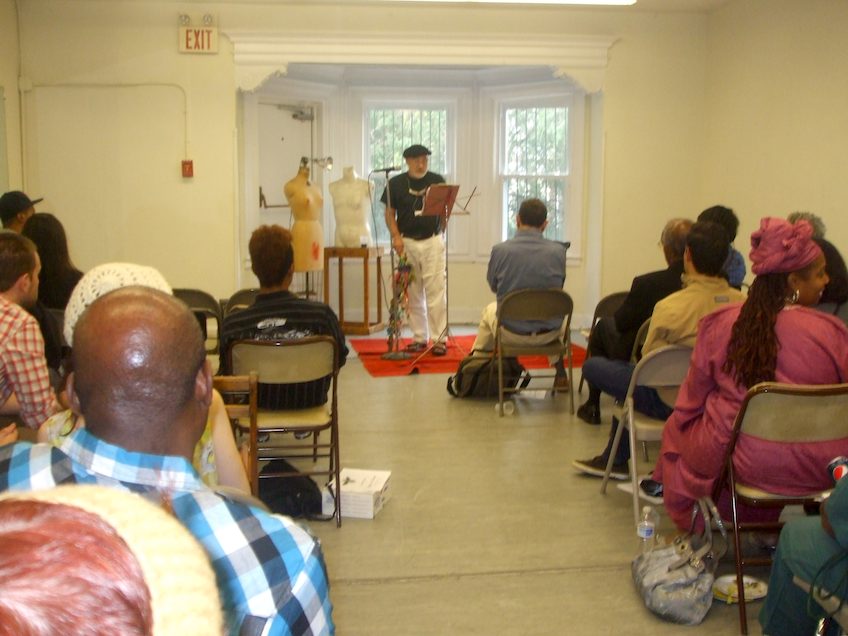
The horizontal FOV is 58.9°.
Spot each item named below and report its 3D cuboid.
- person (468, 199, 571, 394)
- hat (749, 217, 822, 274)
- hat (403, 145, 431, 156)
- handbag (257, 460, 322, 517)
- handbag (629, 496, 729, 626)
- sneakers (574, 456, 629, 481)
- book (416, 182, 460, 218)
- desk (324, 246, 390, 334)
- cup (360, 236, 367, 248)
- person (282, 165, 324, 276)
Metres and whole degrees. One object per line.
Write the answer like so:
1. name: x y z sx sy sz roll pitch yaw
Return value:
1. person: 0.765 -0.187 5.601 0.713 1.463 0.773 -3 16 -8
2. hat: 1.290 -0.274 2.708 0.156 0.149 0.217 3 3 15
3. hat: -0.078 -1.549 6.989 0.174 0.081 0.178 -4 9 28
4. handbag: -0.645 0.830 3.608 0.199 0.098 0.368 1 12 -16
5. handbag: 0.955 0.835 2.889 0.309 0.629 0.455 2 4 13
6. sneakers: 0.943 0.773 3.960 0.265 0.128 0.111 3 -2 15
7. book: 0.134 -0.972 6.261 0.285 0.287 0.506 -1 10 1
8. desk: -0.705 -0.301 8.163 0.777 1.281 0.862 1 6 6
9. cup: -0.627 -0.795 7.775 0.074 0.102 0.081 0 3 16
10. person: -1.175 -0.752 7.485 0.244 1.607 0.328 4 7 38
